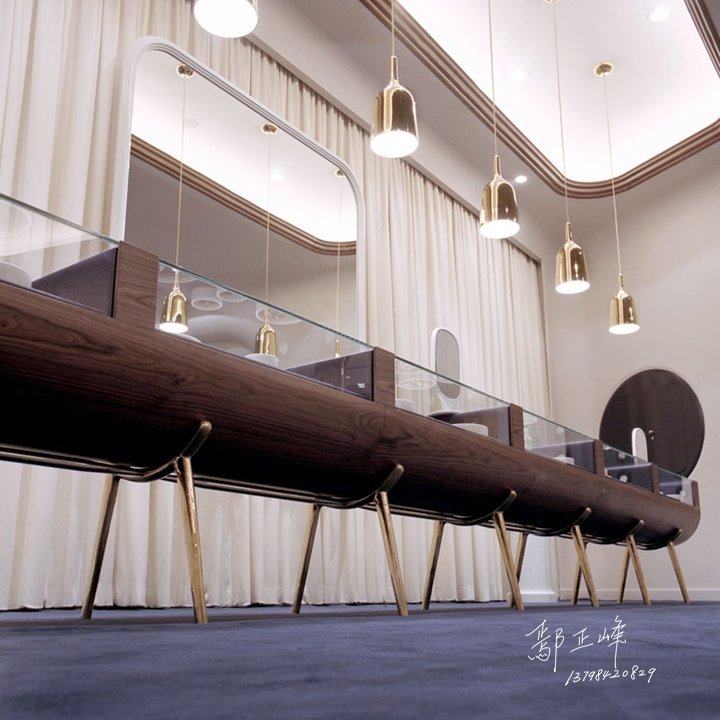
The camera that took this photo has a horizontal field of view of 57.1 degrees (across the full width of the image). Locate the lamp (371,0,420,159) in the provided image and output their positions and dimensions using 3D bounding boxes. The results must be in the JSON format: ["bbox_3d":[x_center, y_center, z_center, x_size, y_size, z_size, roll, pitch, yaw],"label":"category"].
[{"bbox_3d":[0.127,-0.994,2.496,0.176,0.486,0.163,-10,-17,41],"label":"lamp"}]
